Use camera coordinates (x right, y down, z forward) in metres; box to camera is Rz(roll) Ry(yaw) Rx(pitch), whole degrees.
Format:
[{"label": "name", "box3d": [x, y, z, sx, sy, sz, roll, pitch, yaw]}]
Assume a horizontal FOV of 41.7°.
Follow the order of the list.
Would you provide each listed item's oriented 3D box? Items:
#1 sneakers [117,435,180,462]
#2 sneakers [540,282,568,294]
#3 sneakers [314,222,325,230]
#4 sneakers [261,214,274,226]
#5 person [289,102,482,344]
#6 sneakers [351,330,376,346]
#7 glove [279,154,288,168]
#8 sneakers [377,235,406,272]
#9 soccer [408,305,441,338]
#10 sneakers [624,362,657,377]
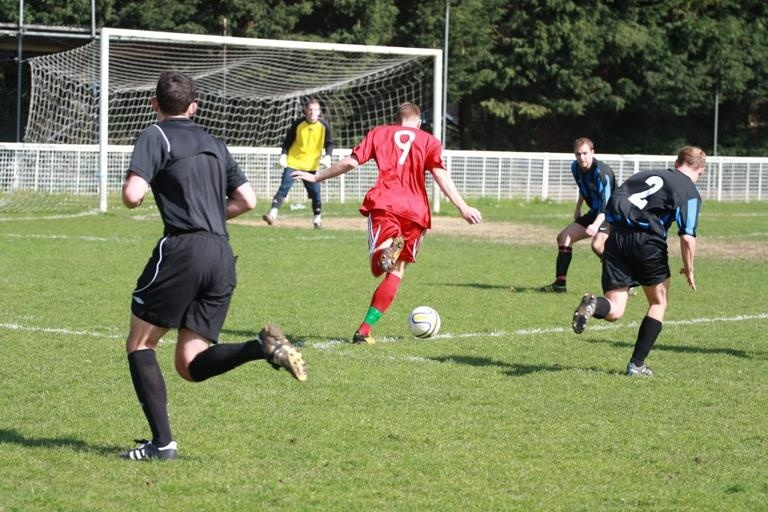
[{"label": "sneakers", "box3d": [-2.352, 1.883, 9.959, 0.627, 0.236, 0.213, 2, -15, 2]}, {"label": "sneakers", "box3d": [2.579, 0.466, 15.351, 0.458, 0.186, 0.155, 2, -4, 0]}, {"label": "sneakers", "box3d": [-1.362, -0.649, 21.235, 0.120, 0.172, 0.168, -28, 3, -23]}, {"label": "sneakers", "box3d": [-2.114, -0.652, 18.272, 0.139, 0.326, 0.152, -20, 49, 8]}, {"label": "person", "box3d": [0.089, -0.270, 12.404, 1.274, 2.638, 0.840, -1, 7, -24]}, {"label": "sneakers", "box3d": [-0.253, 0.989, 12.402, 0.318, 0.136, 0.126, 10, 2, -26]}, {"label": "glove", "box3d": [-1.939, -1.817, 19.209, 0.111, 0.235, 0.169, -6, 12, 9]}, {"label": "sneakers", "box3d": [0.134, -0.127, 12.157, 0.185, 0.221, 0.517, -10, 30, 23]}, {"label": "soccer", "box3d": [0.499, 0.775, 12.164, 0.353, 0.360, 0.354, 7, -16, 11]}, {"label": "sneakers", "box3d": [2.926, 1.295, 11.593, 0.335, 0.155, 0.133, 2, 0, -10]}]
